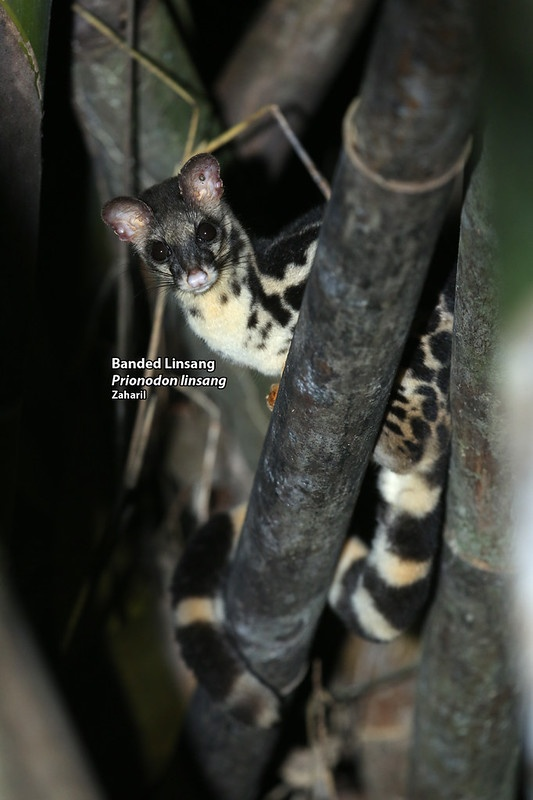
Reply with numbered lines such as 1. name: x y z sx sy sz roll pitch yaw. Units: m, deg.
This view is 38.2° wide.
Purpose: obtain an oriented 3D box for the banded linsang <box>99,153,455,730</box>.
1. banded linsang: 0.006 -0.001 1.261 0.432 0.997 0.397 4 -7 -28
